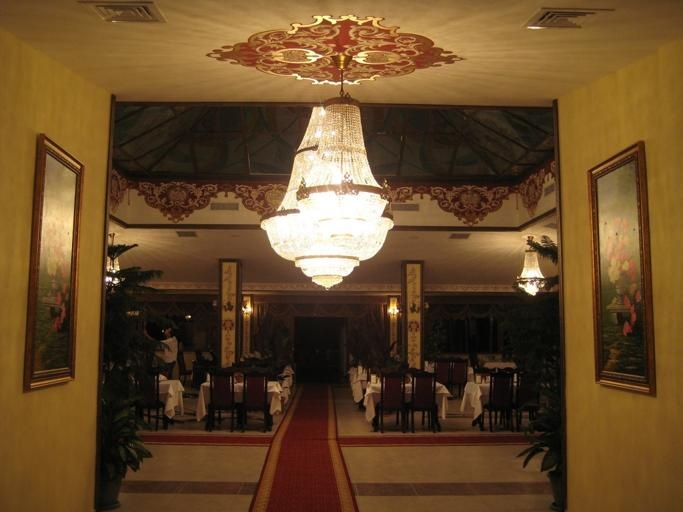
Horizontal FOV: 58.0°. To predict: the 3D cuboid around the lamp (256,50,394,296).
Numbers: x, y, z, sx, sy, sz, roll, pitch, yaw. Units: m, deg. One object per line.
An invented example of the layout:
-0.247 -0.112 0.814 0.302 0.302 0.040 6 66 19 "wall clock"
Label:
-0.082 -0.684 5.495 0.856 1.802 1.167 3 -6 -24 "lamp"
